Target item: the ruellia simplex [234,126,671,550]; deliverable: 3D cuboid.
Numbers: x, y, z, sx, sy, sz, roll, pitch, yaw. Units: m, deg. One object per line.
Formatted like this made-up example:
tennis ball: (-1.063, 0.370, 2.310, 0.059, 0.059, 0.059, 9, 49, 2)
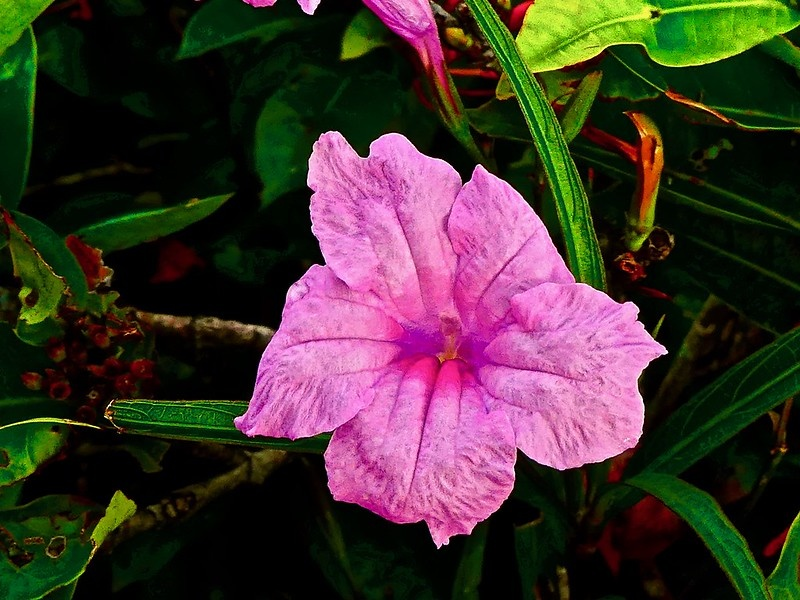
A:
ruellia simplex: (0.064, 0.038, 1.325, 0.550, 0.781, 0.234, -11, 52, 6)
